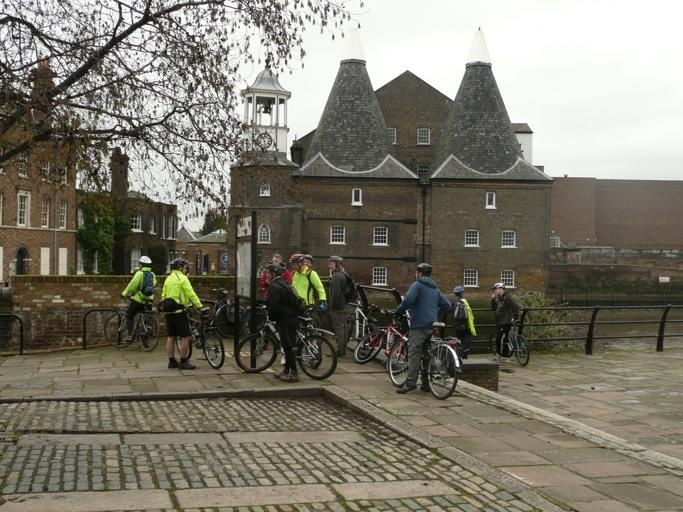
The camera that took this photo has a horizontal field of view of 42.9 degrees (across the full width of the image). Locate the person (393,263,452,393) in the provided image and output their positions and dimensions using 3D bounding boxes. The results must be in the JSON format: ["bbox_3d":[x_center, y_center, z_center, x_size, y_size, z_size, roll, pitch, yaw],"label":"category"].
[{"bbox_3d":[1.311,1.196,14.479,0.848,2.132,0.521,1,-3,-39],"label":"person"}]

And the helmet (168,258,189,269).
[{"bbox_3d":[-3.091,0.175,16.294,0.331,0.121,0.237,-9,6,-11],"label":"helmet"}]

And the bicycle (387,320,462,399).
[{"bbox_3d":[1.366,1.806,14.461,0.823,0.951,1.635,4,2,-28],"label":"bicycle"}]

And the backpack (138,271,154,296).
[{"bbox_3d":[-4.300,0.591,19.000,0.191,0.570,0.452,-2,-2,17],"label":"backpack"}]

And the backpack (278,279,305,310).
[{"bbox_3d":[-0.906,0.707,15.061,0.473,0.585,0.249,0,-2,-11],"label":"backpack"}]

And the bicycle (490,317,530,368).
[{"bbox_3d":[3.994,2.012,20.203,0.704,0.757,1.365,-1,-2,-17],"label":"bicycle"}]

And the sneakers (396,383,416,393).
[{"bbox_3d":[1.026,2.181,14.365,0.350,0.135,0.134,-4,-1,26],"label":"sneakers"}]

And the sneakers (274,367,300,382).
[{"bbox_3d":[-0.974,2.048,15.140,0.172,0.199,0.473,1,2,-36],"label":"sneakers"}]

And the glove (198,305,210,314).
[{"bbox_3d":[-2.699,1.047,16.802,0.219,0.161,0.339,0,6,-27],"label":"glove"}]

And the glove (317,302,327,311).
[{"bbox_3d":[-0.406,0.977,16.681,0.138,0.165,0.173,3,12,-7],"label":"glove"}]

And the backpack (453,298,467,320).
[{"bbox_3d":[2.622,1.180,19.339,0.261,0.457,0.429,-1,-2,1],"label":"backpack"}]

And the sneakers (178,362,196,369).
[{"bbox_3d":[-2.911,2.033,16.163,0.336,0.130,0.116,2,-2,-7],"label":"sneakers"}]

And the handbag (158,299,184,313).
[{"bbox_3d":[-3.152,0.908,15.929,0.358,0.151,0.252,0,1,-35],"label":"handbag"}]

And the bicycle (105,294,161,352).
[{"bbox_3d":[-4.868,1.656,19.419,1.683,0.956,0.773,3,-3,42],"label":"bicycle"}]

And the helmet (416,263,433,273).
[{"bbox_3d":[1.360,0.220,14.714,0.273,0.194,0.217,8,7,24],"label":"helmet"}]

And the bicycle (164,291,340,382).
[{"bbox_3d":[-1.432,1.505,16.041,2.659,1.432,1.267,4,-3,16],"label":"bicycle"}]
